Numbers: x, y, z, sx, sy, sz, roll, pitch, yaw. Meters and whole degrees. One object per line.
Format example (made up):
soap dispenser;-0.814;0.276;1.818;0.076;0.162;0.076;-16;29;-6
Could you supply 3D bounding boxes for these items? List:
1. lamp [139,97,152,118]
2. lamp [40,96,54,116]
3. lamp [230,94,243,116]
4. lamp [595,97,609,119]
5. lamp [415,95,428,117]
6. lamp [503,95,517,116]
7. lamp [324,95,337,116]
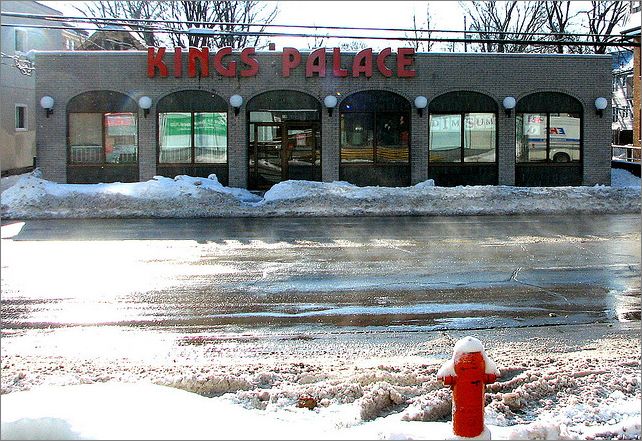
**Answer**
lamp;-7.763;-5.051;28.133;0.551;0.906;0.553;-3;11;-13
lamp;-12.162;-5.043;28.234;0.588;0.962;0.562;-2;11;-8
lamp;-3.735;-5.117;28.178;0.589;0.905;0.534;-2;11;-7
lamp;12.870;-5.183;29.179;0.453;0.941;0.618;10;15;43
lamp;4.549;-5.141;28.627;0.668;0.924;0.555;-1;11;-2
lamp;8.609;-5.149;28.912;0.657;0.962;0.527;-1;11;-4
lamp;0.471;-5.093;28.287;0.621;0.941;0.621;-1;11;-1
